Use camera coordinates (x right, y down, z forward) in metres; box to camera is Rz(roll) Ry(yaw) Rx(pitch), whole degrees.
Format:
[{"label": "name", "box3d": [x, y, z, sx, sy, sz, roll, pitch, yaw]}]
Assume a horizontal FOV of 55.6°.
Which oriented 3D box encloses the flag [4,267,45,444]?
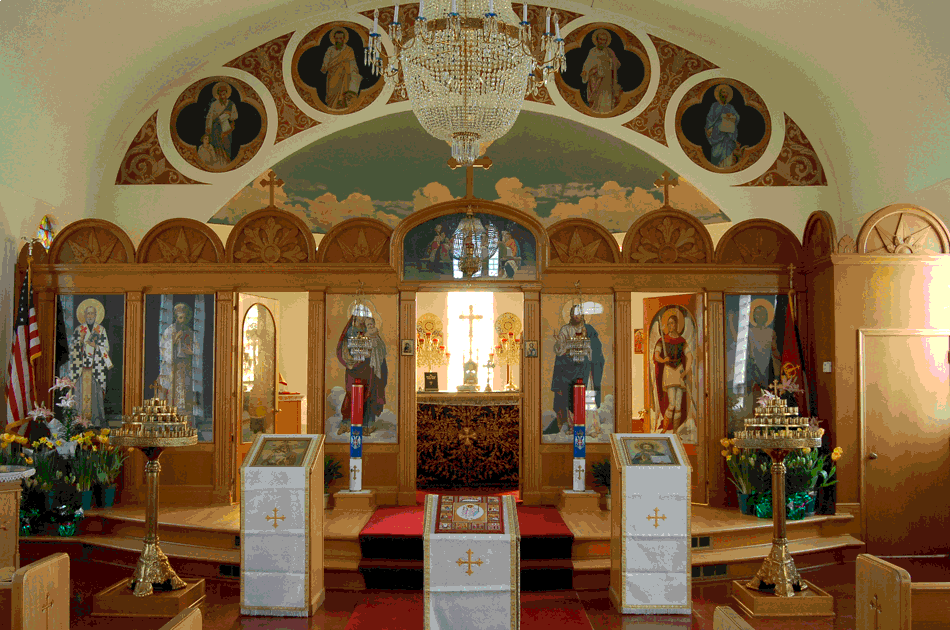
[{"label": "flag", "box3d": [-6.619, 0.483, 13.273, 0.405, 2.223, 0.343, 2, -4, -29]}]
